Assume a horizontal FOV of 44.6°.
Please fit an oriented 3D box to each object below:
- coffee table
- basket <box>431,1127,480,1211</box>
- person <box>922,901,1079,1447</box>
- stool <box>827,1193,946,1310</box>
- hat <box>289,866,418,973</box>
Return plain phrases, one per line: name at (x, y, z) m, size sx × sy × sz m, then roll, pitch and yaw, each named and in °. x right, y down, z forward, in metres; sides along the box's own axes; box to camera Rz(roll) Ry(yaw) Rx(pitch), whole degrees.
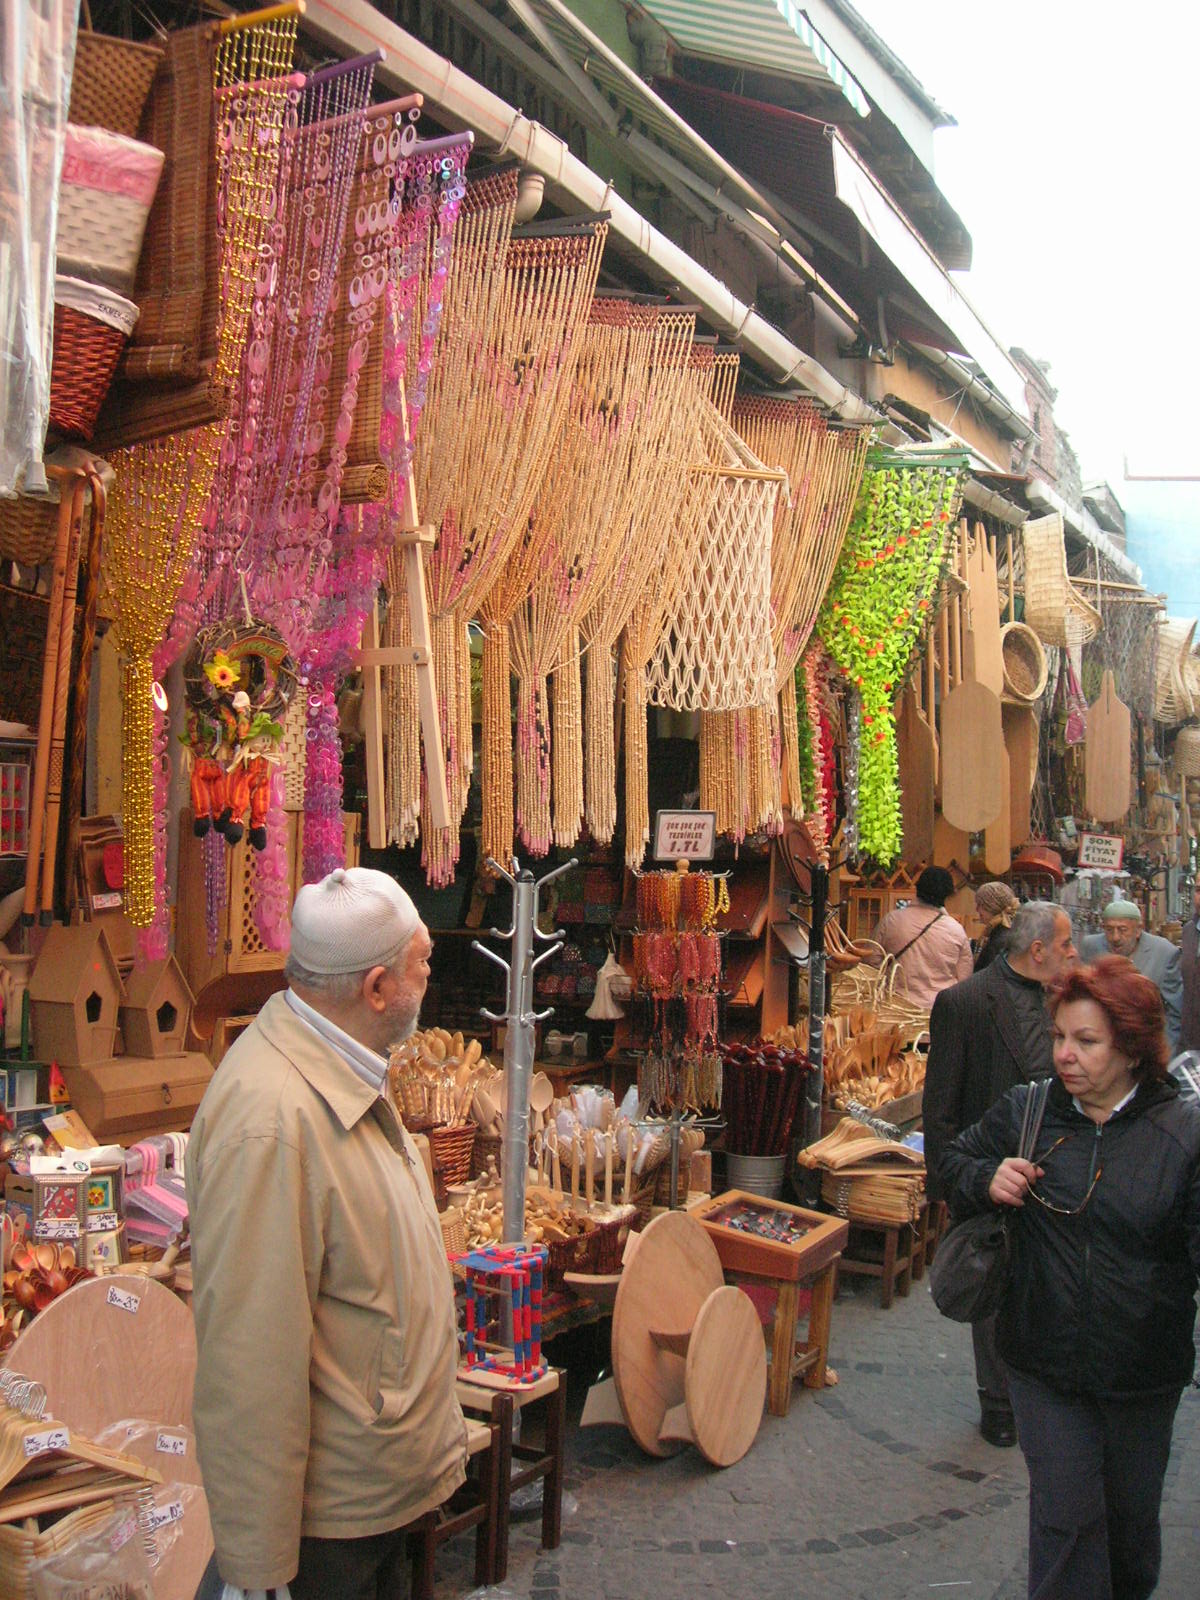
coffee table at (0.174, 1.455, 3.937) m, size 0.661 × 0.634 × 0.350 m, roll -4°, pitch -7°, yaw -41°
basket at (-0.420, 1.047, 4.247) m, size 0.155 × 0.126 × 0.171 m, roll 0°, pitch -5°, yaw -2°
person at (1.147, 1.018, 3.986) m, size 0.524 × 1.411 × 0.430 m, roll 1°, pitch -6°, yaw -16°
stool at (1.136, 1.808, 5.783) m, size 0.581 × 0.545 × 0.441 m, roll 1°, pitch -10°, yaw 20°
hat at (-0.314, 0.157, 1.887) m, size 0.112 × 0.101 × 0.154 m, roll 7°, pitch 14°, yaw 42°
